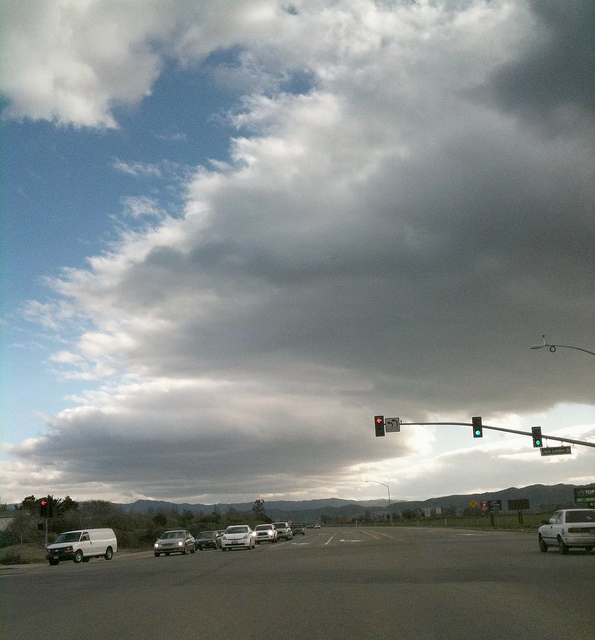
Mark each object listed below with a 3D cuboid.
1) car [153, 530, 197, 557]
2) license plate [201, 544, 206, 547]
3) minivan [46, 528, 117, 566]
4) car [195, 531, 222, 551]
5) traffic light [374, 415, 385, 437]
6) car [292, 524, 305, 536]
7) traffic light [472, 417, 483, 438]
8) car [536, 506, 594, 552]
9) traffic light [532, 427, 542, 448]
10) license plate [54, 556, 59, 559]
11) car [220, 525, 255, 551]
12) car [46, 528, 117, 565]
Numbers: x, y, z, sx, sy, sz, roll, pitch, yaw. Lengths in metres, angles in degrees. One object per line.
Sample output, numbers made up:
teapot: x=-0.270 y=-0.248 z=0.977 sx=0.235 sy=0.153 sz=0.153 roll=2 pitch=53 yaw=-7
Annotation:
car: x=-8.178 y=15.013 z=41.485 sx=1.494 sy=1.051 sz=2.943 roll=-7 pitch=-23 yaw=1
license plate: x=-7.441 y=17.677 z=48.236 sx=0.317 sy=0.171 sz=0.308 roll=1 pitch=-21 yaw=-13
minivan: x=-13.183 y=13.598 z=37.013 sx=2.146 sy=1.699 sz=4.111 roll=-11 pitch=-23 yaw=13
car: x=-7.237 y=17.569 z=48.916 sx=2.033 sy=1.336 sz=1.878 roll=0 pitch=-13 yaw=-10
traffic light: x=4.903 y=6.247 z=36.343 sx=0.337 sy=1.100 sz=0.771 roll=-13 pitch=-17 yaw=42
car: x=0.083 y=27.367 z=79.967 sx=1.328 sy=1.274 sz=2.956 roll=-2 pitch=-12 yaw=3
traffic light: x=11.020 y=6.446 z=37.129 sx=0.516 sy=1.128 sz=0.436 roll=-5 pitch=-13 yaw=14
car: x=10.792 y=8.143 z=24.343 sx=1.470 sy=1.210 sz=3.185 roll=0 pitch=-11 yaw=2
traffic light: x=15.176 y=7.301 z=38.480 sx=0.485 sy=1.197 sz=0.434 roll=-6 pitch=-13 yaw=17
license plate: x=-13.930 y=13.515 z=35.020 sx=0.198 sy=0.191 sz=0.106 roll=-3 pitch=-5 yaw=-2
car: x=-4.094 y=14.937 z=42.347 sx=1.460 sy=1.171 sz=2.500 roll=-2 pitch=-30 yaw=0
car: x=-13.208 y=13.508 z=37.148 sx=2.261 sy=1.782 sz=4.305 roll=-11 pitch=-23 yaw=13
